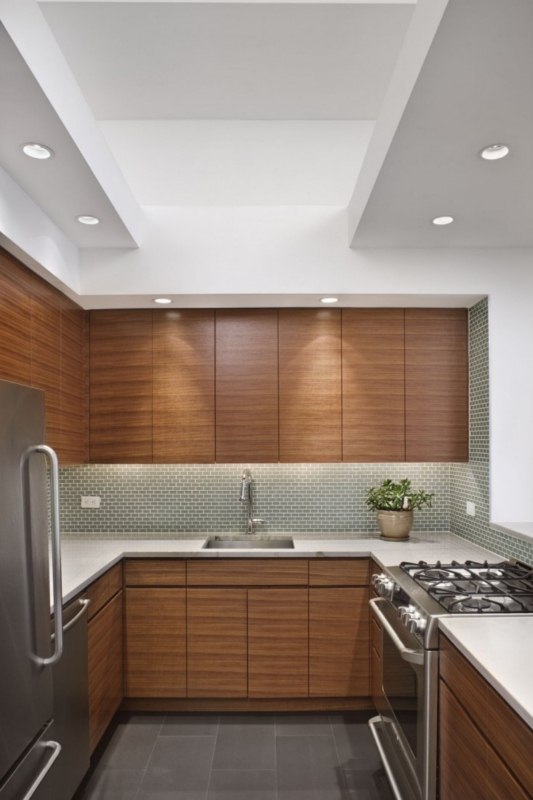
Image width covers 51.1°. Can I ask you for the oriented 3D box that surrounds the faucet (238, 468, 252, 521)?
[{"bbox_3d":[-0.123,0.568,3.332,0.072,0.309,0.116,0,-3,-4],"label":"faucet"}]

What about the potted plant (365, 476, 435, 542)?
[{"bbox_3d":[0.748,0.624,3.186,0.320,0.341,0.260,2,0,4],"label":"potted plant"}]
